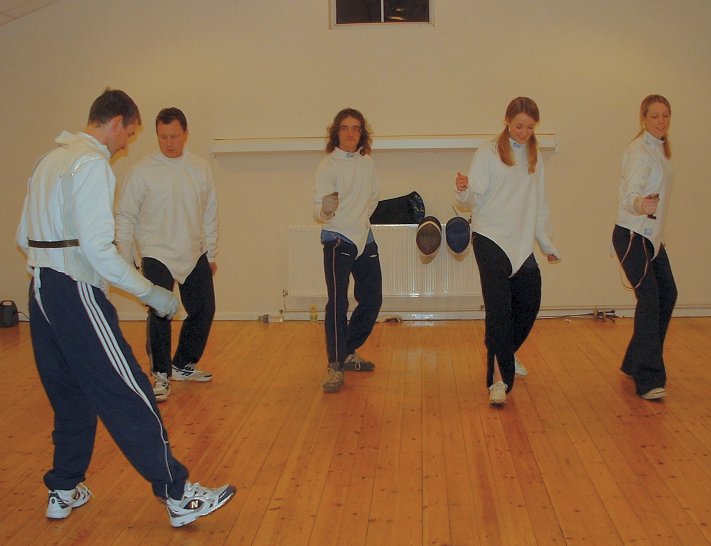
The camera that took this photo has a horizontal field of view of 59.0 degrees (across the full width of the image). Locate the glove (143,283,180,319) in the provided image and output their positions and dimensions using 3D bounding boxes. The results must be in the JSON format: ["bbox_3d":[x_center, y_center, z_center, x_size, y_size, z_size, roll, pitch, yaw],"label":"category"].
[{"bbox_3d":[-0.949,0.135,3.015,0.059,0.168,0.138,-2,50,33],"label":"glove"}]

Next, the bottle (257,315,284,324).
[{"bbox_3d":[-0.872,0.464,6.423,0.150,0.076,0.126,0,2,-6],"label":"bottle"}]

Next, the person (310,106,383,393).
[{"bbox_3d":[-0.073,-0.181,4.533,0.383,1.946,0.693,6,12,35],"label":"person"}]

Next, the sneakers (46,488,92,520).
[{"bbox_3d":[-1.426,1.122,3.136,0.087,0.125,0.248,3,10,19],"label":"sneakers"}]

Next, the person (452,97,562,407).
[{"bbox_3d":[0.974,-0.137,4.118,0.681,1.956,0.468,-1,10,-1],"label":"person"}]

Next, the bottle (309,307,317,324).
[{"bbox_3d":[-0.436,0.420,6.416,0.122,0.221,0.106,0,-5,-1],"label":"bottle"}]

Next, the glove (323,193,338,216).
[{"bbox_3d":[-0.161,-0.456,4.191,0.073,0.152,0.117,4,-1,8],"label":"glove"}]

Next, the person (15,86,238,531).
[{"bbox_3d":[-1.181,0.283,2.948,0.900,1.842,0.345,3,11,21],"label":"person"}]

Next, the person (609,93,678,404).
[{"bbox_3d":[1.951,-0.190,4.244,0.428,1.971,0.633,5,11,29],"label":"person"}]

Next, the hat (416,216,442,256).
[{"bbox_3d":[0.660,-0.338,5.649,0.178,0.374,0.166,0,-2,8],"label":"hat"}]
